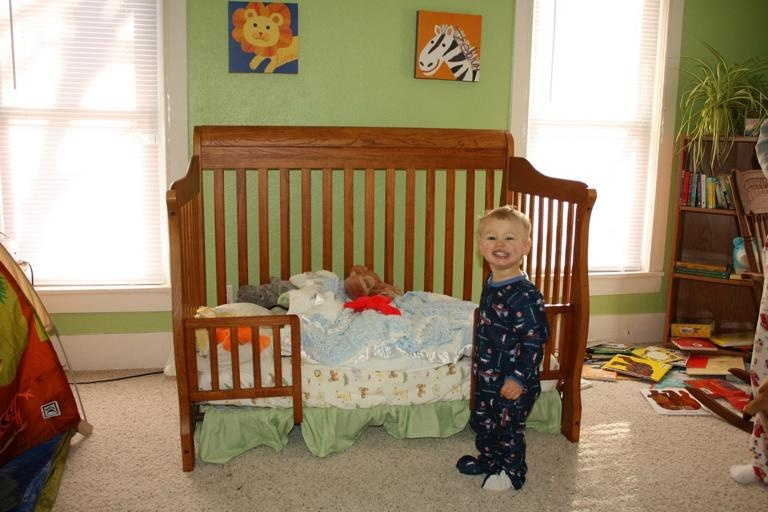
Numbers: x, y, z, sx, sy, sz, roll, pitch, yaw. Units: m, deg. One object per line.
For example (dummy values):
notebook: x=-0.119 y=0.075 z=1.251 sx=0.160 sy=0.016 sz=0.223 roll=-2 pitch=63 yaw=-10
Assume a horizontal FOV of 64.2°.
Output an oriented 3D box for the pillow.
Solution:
pillow: x=-0.730 y=0.345 z=2.910 sx=0.274 sy=0.082 sz=0.264 roll=-1 pitch=30 yaw=-19

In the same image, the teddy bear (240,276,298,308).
teddy bear: x=-0.636 y=0.194 z=3.254 sx=0.217 sy=0.077 sz=0.169 roll=-4 pitch=12 yaw=-15

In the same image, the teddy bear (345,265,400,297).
teddy bear: x=-0.072 y=0.142 z=3.332 sx=0.281 sy=0.161 sz=0.301 roll=2 pitch=11 yaw=20

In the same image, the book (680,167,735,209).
book: x=2.049 y=-0.422 z=3.859 sx=0.302 sy=0.233 sz=0.234 roll=7 pitch=13 yaw=38

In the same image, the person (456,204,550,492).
person: x=0.524 y=0.411 z=2.719 sx=0.388 sy=1.241 sz=0.270 roll=1 pitch=11 yaw=11

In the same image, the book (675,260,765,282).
book: x=2.064 y=0.085 z=3.864 sx=0.405 sy=0.092 sz=0.087 roll=4 pitch=12 yaw=27
